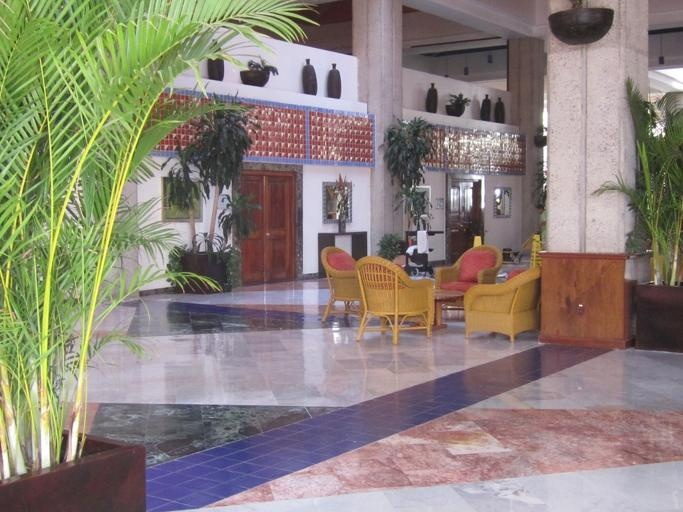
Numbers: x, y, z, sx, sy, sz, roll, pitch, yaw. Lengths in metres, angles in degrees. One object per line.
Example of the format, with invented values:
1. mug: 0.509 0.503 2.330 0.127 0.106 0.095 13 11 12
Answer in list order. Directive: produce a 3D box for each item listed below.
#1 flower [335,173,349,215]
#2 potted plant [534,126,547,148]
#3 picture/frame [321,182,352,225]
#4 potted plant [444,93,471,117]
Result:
1. flower: 0.005 -1.523 14.107 0.413 1.215 0.344 0 36 -1
2. potted plant: 6.818 -4.113 18.950 0.371 0.766 0.704 1 4 18
3. picture/frame: -0.163 -1.351 13.950 1.067 1.272 0.054 0 1 -36
4. potted plant: 3.558 -4.642 17.227 0.759 0.758 0.688 1 7 -11
